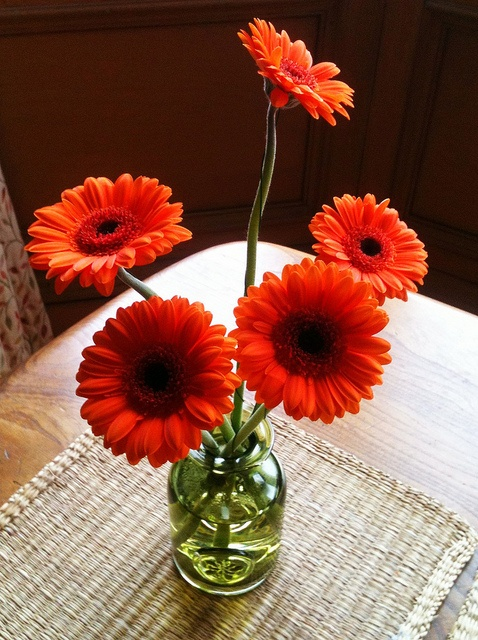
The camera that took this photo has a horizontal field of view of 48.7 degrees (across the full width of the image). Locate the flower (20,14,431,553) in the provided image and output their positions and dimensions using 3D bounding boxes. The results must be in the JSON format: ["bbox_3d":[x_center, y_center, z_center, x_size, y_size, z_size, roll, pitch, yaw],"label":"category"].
[{"bbox_3d":[-0.009,0.031,0.349,0.197,0.261,0.131,-3,33,30],"label":"flower"}]

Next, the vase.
[{"bbox_3d":[-0.010,0.148,0.448,0.097,0.153,0.096,13,37,18],"label":"vase"}]
